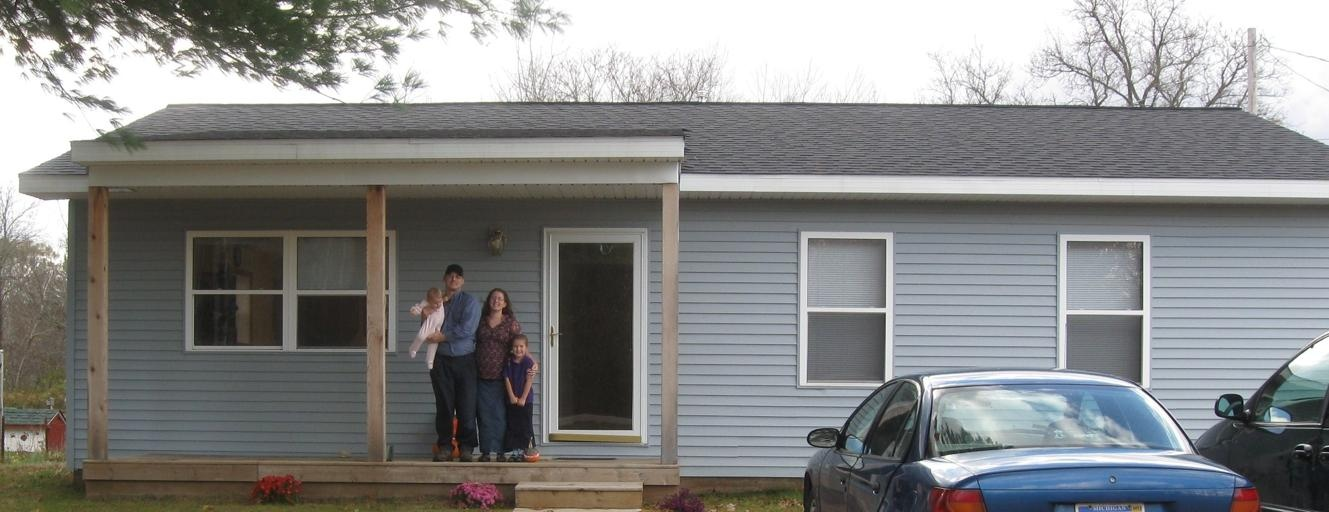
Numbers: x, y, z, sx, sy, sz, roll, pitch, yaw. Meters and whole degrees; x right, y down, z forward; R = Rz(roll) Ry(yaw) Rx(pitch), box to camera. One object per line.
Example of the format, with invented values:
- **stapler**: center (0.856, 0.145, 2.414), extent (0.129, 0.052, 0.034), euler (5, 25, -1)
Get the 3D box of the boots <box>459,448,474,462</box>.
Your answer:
- **boots**: center (-7.052, 7.066, 72.423), extent (0.558, 0.465, 0.438), euler (7, -11, -33)
